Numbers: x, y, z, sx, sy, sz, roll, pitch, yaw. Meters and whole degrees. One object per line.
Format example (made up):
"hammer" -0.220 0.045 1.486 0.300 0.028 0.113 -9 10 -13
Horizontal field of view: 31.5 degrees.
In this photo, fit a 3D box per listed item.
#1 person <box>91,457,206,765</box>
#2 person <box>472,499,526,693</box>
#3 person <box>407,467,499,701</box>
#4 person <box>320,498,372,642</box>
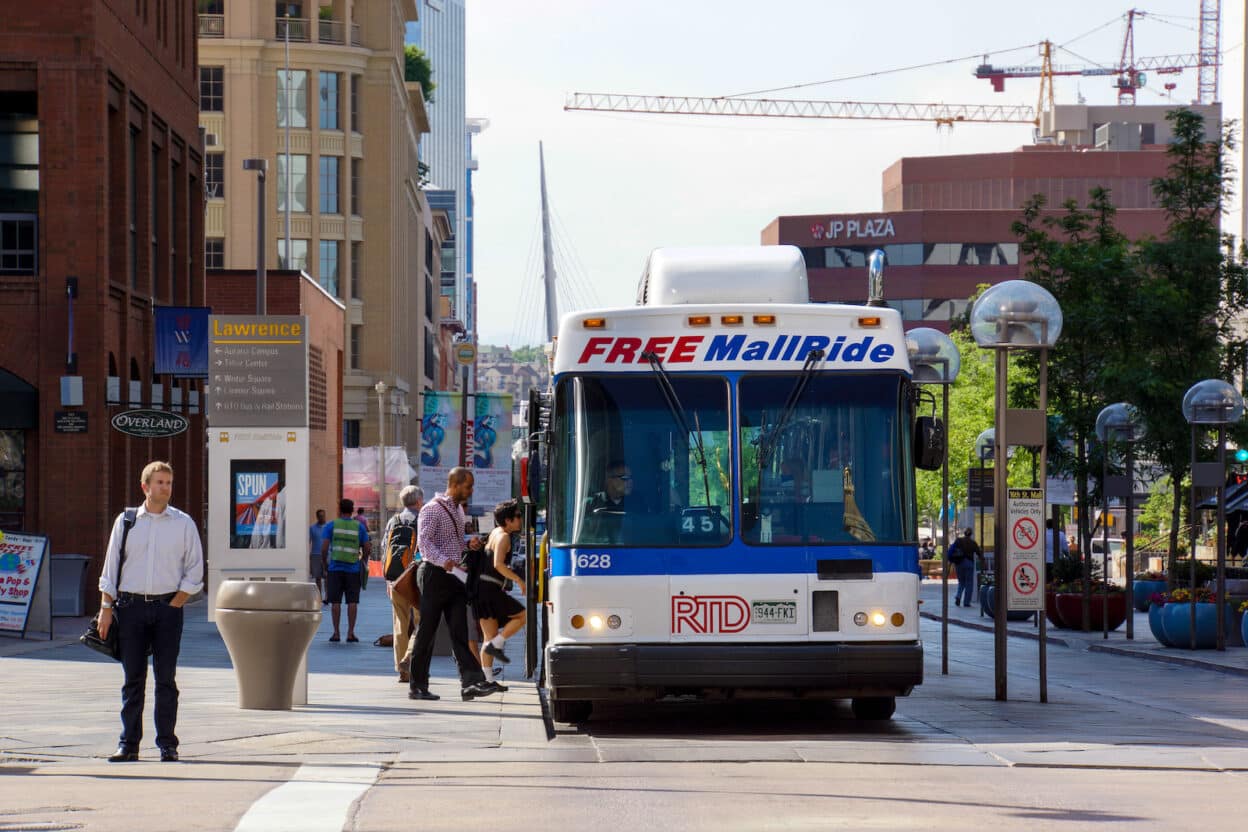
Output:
"person" -5.669 2.398 27.121 1.226 3.615 0.538 1 -3 -12
"person" -1.759 2.615 33.165 0.950 2.384 0.755 0 -1 -5
"person" -2.558 2.466 32.042 1.206 3.310 1.079 -1 -2 -33
"person" -4.901 2.768 40.072 0.833 2.451 0.801 0 0 0
